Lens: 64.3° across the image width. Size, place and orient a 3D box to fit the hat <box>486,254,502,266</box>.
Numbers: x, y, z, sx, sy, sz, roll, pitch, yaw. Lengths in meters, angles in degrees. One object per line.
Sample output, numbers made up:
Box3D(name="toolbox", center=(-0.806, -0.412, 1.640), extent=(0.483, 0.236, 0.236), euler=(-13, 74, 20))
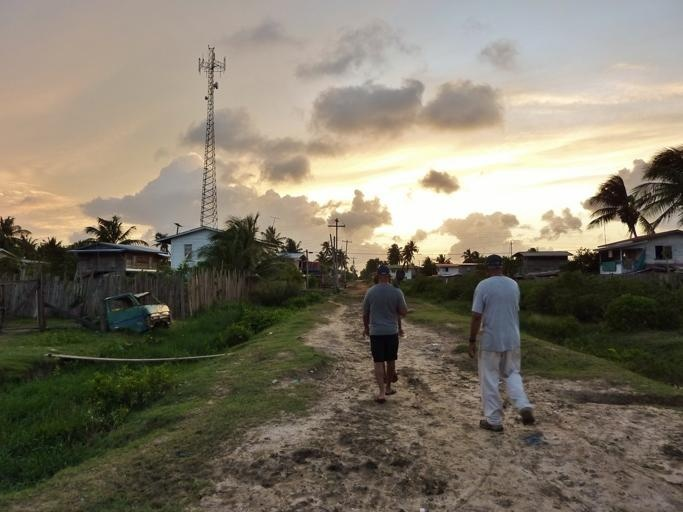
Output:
Box3D(name="hat", center=(2.545, 0.079, 9.026), extent=(0.288, 0.189, 0.436), euler=(2, 4, 15))

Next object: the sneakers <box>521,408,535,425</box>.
Box3D(name="sneakers", center=(3.210, 2.764, 9.360), extent=(0.170, 0.171, 0.344), euler=(1, -3, 13))

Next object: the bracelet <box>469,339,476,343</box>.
Box3D(name="bracelet", center=(2.328, 1.495, 9.645), extent=(0.081, 0.034, 0.085), euler=(1, 0, -13))

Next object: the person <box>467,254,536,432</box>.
Box3D(name="person", center=(2.754, 1.478, 9.499), extent=(0.963, 2.865, 1.116), euler=(-1, 9, 2))

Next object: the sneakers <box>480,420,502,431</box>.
Box3D(name="sneakers", center=(2.551, 2.877, 9.304), extent=(0.351, 0.189, 0.152), euler=(5, -3, 32))

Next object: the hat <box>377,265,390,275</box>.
Box3D(name="hat", center=(0.836, 0.273, 10.781), extent=(0.156, 0.142, 0.222), euler=(1, 8, 2))
